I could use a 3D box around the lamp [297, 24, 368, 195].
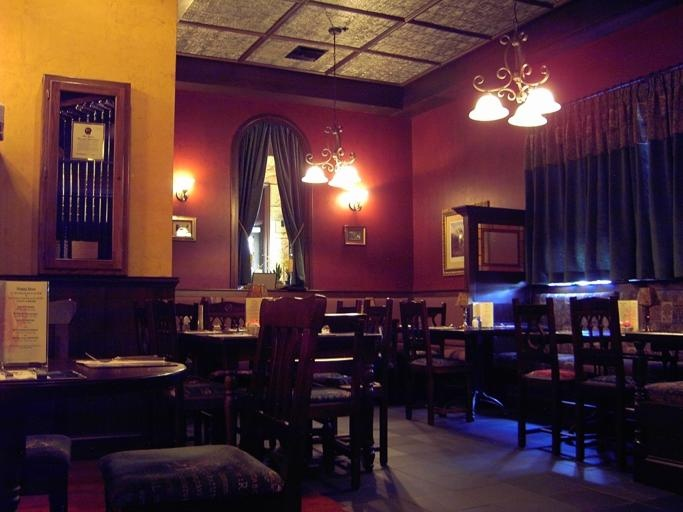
[{"bbox_3d":[-0.144,-1.826,8.327,0.863,1.905,2.103,0,-3,2],"label":"lamp"}]

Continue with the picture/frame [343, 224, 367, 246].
[{"bbox_3d":[0.188,-0.335,9.225,0.321,0.282,0.044,-1,1,-30],"label":"picture/frame"}]
